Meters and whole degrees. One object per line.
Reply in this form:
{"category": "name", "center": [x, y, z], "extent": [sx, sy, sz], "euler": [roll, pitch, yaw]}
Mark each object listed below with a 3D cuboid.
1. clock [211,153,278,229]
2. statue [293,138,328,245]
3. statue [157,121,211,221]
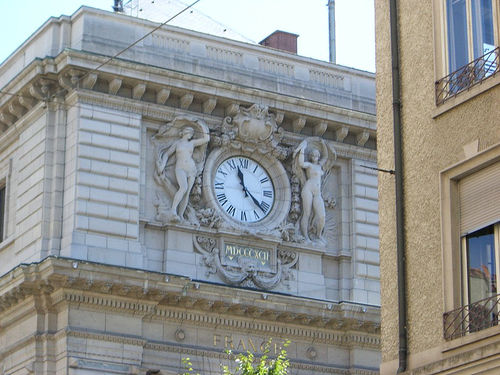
{"category": "clock", "center": [-0.251, 0.050, 63.945], "extent": [2.327, 2.336, 0.267], "euler": [12, -28, -31]}
{"category": "statue", "center": [2.161, 0.047, 64.971], "extent": [1.387, 3.854, 0.687], "euler": [9, -17, -17]}
{"category": "statue", "center": [-2.246, -0.684, 62.982], "extent": [1.784, 3.516, 0.781], "euler": [3, -8, -14]}
